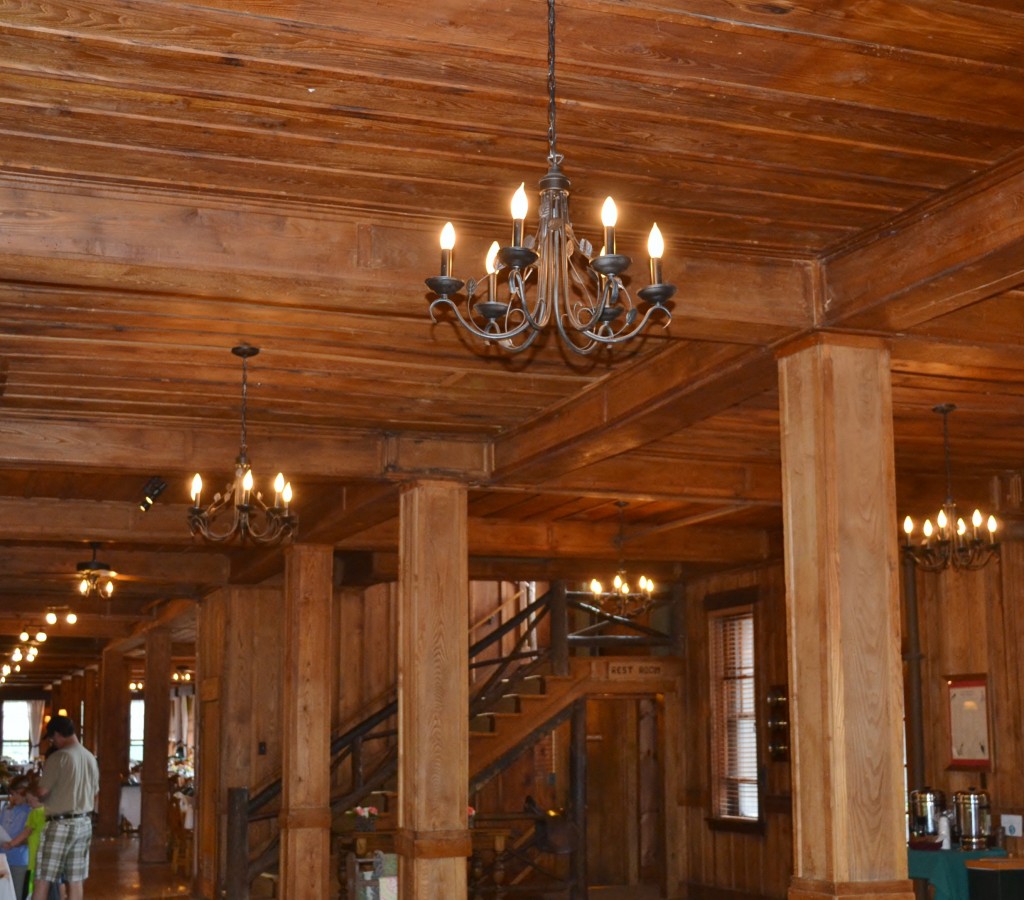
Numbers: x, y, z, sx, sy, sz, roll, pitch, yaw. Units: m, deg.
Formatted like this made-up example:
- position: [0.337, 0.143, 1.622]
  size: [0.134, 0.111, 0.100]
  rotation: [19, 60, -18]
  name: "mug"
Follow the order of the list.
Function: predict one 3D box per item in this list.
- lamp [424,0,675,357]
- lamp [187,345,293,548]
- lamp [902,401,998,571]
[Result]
- position: [0.110, -0.846, 4.315]
  size: [0.534, 0.981, 0.560]
  rotation: [22, -34, -29]
  name: "lamp"
- position: [-1.395, -0.032, 7.512]
  size: [0.606, 0.985, 0.564]
  rotation: [2, 0, -29]
  name: "lamp"
- position: [2.656, 0.256, 8.742]
  size: [0.612, 0.864, 0.552]
  rotation: [-4, 11, 4]
  name: "lamp"
